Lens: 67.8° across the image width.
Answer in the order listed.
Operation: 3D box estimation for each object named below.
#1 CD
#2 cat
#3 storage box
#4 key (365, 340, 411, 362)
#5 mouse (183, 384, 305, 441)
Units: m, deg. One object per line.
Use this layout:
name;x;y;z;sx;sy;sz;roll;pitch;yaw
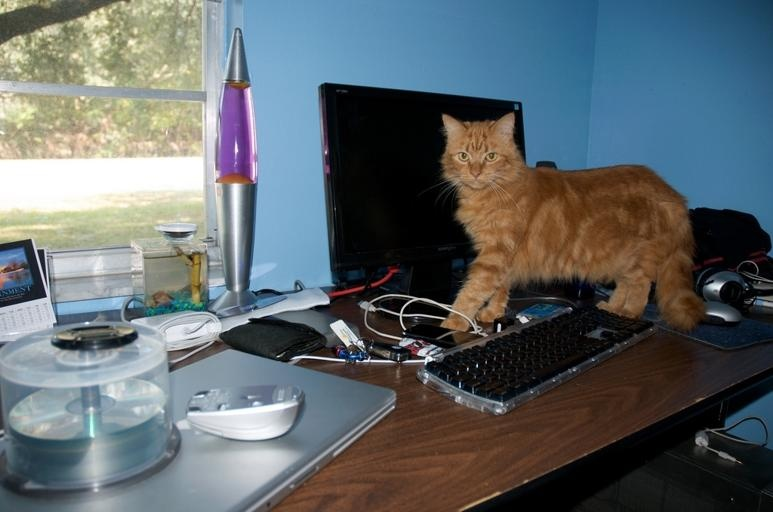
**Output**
CD;-0.583;0.341;1.108;0.298;0.180;0.084;-4;12;-9
cat;0.593;-0.132;2.041;0.703;0.682;0.856;2;12;5
storage box;-0.614;0.048;1.684;0.209;0.220;0.203;2;4;14
key;-0.003;0.245;1.524;0.086;0.018;0.053;10;15;31
mouse;-0.300;0.323;1.217;0.248;0.078;0.131;0;15;-4
